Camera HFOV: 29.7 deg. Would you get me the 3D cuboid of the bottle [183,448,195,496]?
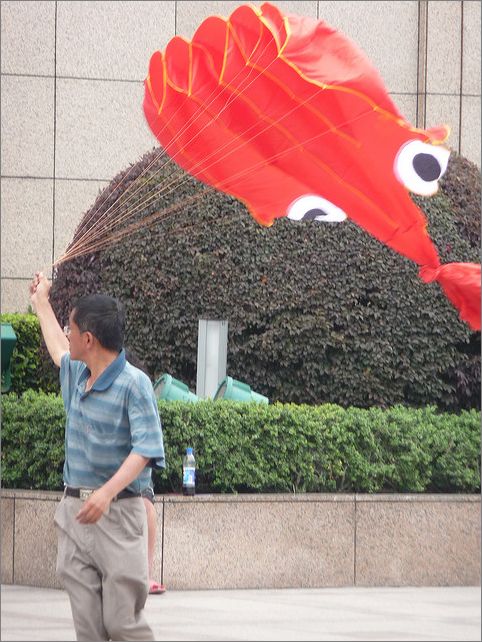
[{"bbox_3d":[-0.322,0.935,5.666,0.082,0.290,0.162,1,-7,-4],"label":"bottle"}]
